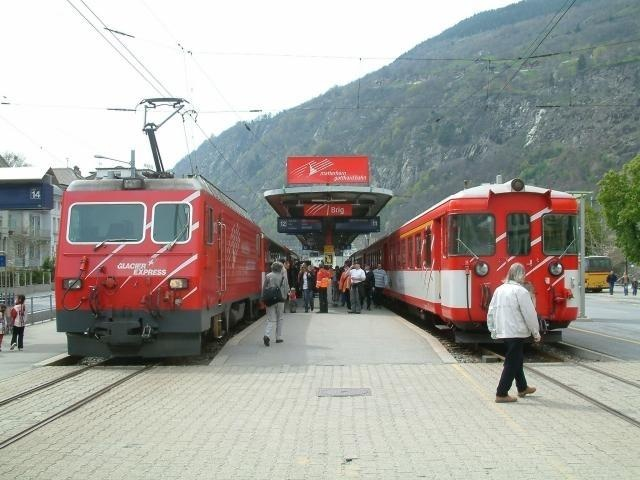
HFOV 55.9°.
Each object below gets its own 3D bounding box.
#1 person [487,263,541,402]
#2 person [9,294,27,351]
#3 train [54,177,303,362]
[{"bbox_3d":[3.007,1.422,9.408,0.734,2.094,0.570,-1,-1,9],"label":"person"},{"bbox_3d":[-8.015,2.192,15.980,0.346,1.429,1.036,0,-1,-28],"label":"person"},{"bbox_3d":[-3.510,0.574,14.424,2.773,4.218,5.327,-1,-1,6],"label":"train"}]
